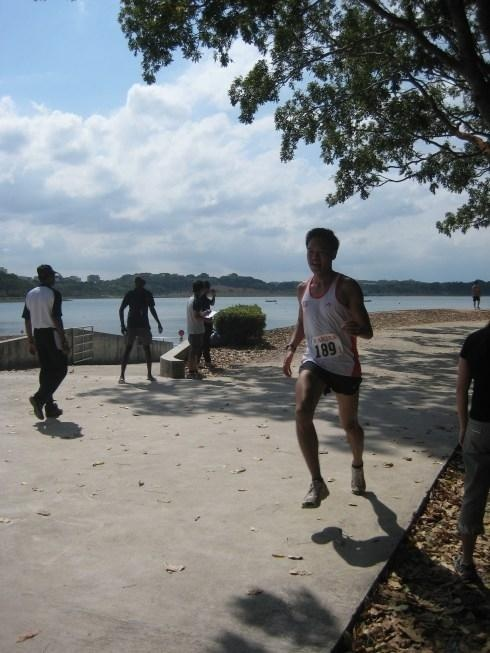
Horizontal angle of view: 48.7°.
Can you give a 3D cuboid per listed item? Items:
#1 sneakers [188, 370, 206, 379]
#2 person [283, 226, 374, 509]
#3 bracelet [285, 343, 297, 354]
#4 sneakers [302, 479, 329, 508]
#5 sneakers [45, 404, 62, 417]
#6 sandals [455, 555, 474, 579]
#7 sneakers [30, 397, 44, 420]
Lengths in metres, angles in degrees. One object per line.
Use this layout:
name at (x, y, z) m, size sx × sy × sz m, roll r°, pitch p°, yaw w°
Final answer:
sneakers at (-1.056, 1.036, 11.605) m, size 0.423 × 0.277 × 0.148 m, roll -3°, pitch -1°, yaw 11°
person at (0.622, 0.289, 3.935) m, size 0.660 × 2.037 × 1.271 m, roll 0°, pitch 2°, yaw 4°
bracelet at (0.387, 0.188, 4.591) m, size 0.088 × 0.093 × 0.061 m, roll 4°, pitch -12°, yaw 24°
sneakers at (0.462, 1.091, 3.567) m, size 0.107 × 0.114 × 0.256 m, roll -8°, pitch -7°, yaw 23°
sneakers at (-2.609, 1.160, 7.458) m, size 0.111 × 0.185 × 0.309 m, roll 2°, pitch 2°, yaw 14°
sandals at (1.184, 1.300, 2.911) m, size 0.050 × 0.058 × 0.139 m, roll -1°, pitch 1°, yaw 9°
sneakers at (-2.763, 1.090, 7.207) m, size 0.108 × 0.306 × 0.134 m, roll -26°, pitch 16°, yaw -40°
